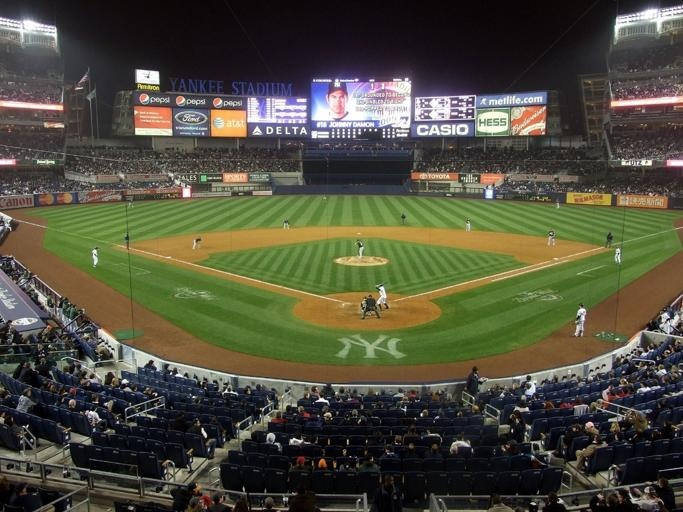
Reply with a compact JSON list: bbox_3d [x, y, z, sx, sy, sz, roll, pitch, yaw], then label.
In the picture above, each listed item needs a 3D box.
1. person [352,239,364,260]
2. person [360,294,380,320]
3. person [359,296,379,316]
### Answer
[{"bbox_3d":[1.208,-0.464,45.214,0.681,0.460,1.468,14,29,3],"label":"person"},{"bbox_3d":[1.443,2.662,30.868,0.993,1.195,0.522,3,-23,-14],"label":"person"},{"bbox_3d":[1.430,2.675,30.842,1.009,1.046,0.464,4,-21,-6],"label":"person"}]
